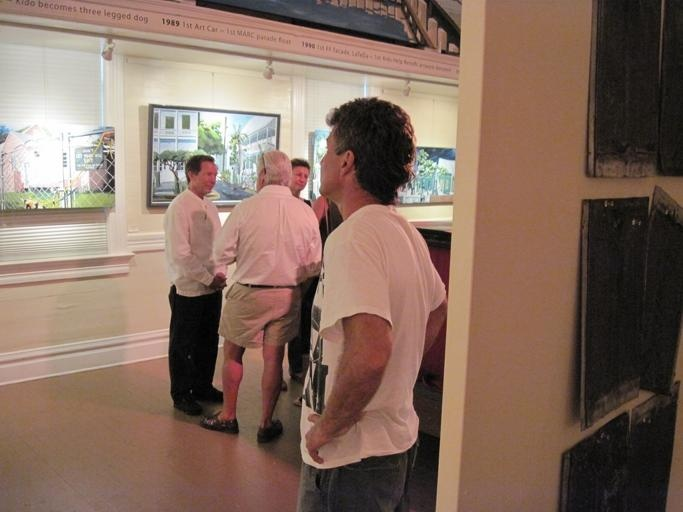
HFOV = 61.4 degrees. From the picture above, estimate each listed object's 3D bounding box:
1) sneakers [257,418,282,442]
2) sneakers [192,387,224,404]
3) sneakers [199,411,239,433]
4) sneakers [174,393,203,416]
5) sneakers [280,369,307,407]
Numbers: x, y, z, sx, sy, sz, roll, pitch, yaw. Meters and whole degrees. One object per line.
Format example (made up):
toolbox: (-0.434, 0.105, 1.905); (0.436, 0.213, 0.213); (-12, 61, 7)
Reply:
sneakers: (-0.550, 1.350, 4.476); (0.092, 0.097, 0.239); (2, 6, 17)
sneakers: (-1.167, 1.234, 5.119); (0.301, 0.153, 0.110); (1, 4, -6)
sneakers: (-0.964, 1.302, 4.564); (0.291, 0.124, 0.130); (8, 0, 22)
sneakers: (-1.298, 1.242, 4.873); (0.281, 0.119, 0.112); (8, 6, 32)
sneakers: (-0.434, 1.221, 5.386); (0.204, 0.266, 0.617); (1, -3, -28)
